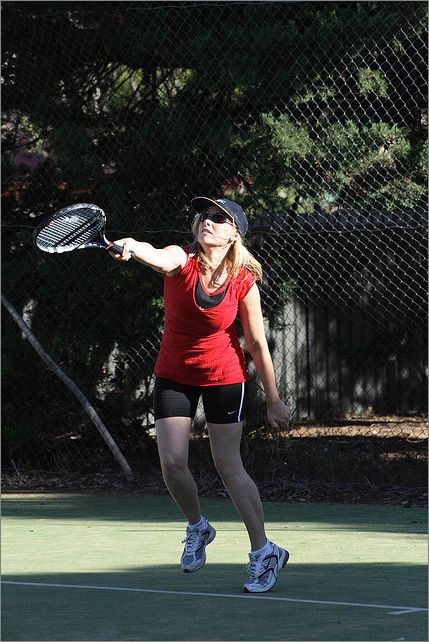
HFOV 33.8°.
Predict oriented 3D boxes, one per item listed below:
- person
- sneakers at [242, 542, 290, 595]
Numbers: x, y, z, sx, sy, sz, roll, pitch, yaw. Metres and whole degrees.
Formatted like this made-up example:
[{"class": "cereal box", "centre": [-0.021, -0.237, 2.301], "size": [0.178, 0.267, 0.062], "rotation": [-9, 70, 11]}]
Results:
[{"class": "person", "centre": [-0.048, 0.259, 2.583], "size": [0.579, 1.414, 0.520], "rotation": [-1, -4, -27]}, {"class": "sneakers", "centre": [0.174, 0.865, 2.528], "size": [0.081, 0.110, 0.241], "rotation": [-15, 25, 41]}]
